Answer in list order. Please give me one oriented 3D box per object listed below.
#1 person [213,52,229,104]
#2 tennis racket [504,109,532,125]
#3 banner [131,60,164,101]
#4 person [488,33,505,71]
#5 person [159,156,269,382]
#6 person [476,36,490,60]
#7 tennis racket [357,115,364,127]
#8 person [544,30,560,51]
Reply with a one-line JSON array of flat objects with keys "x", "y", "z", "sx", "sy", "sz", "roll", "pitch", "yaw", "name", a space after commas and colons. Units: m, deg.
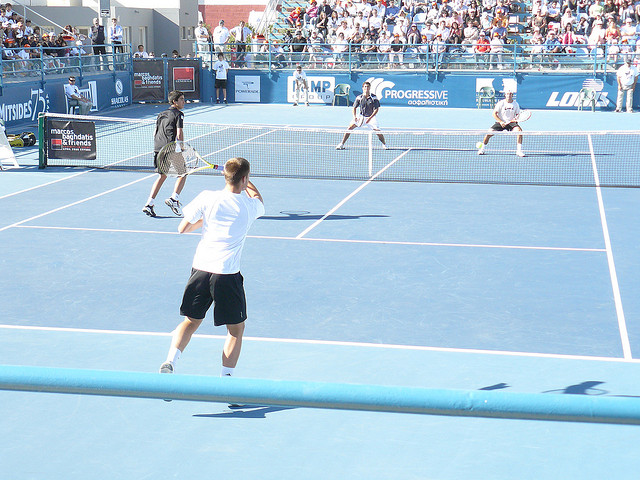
[{"x": -4.251, "y": -6.950, "z": 32.707, "sx": 0.660, "sy": 2.115, "sz": 1.106, "roll": 0, "pitch": 11, "yaw": -7, "name": "person"}, {"x": 4.775, "y": -2.904, "z": 18.216, "sx": 0.069, "sy": 0.513, "sz": 0.257, "roll": 31, "pitch": 49, "yaw": -21, "name": "tennis racket"}, {"x": -7.116, "y": -6.660, "z": 31.344, "sx": 1.591, "sy": 1.876, "sz": 0.136, "roll": -4, "pitch": 29, "yaw": -11, "name": "banner"}, {"x": 7.067, "y": -7.624, "z": 30.665, "sx": 0.631, "sy": 1.479, "sz": 0.940, "roll": 3, "pitch": 11, "yaw": 8, "name": "person"}, {"x": -0.915, "y": 0.239, "z": 6.684, "sx": 0.801, "sy": 1.893, "sz": 0.542, "roll": 1, "pitch": 10, "yaw": -5, "name": "person"}, {"x": 6.552, "y": -7.814, "z": 30.894, "sx": 0.541, "sy": 0.939, "sz": 1.699, "roll": 4, "pitch": 11, "yaw": 11, "name": "person"}, {"x": 1.033, "y": -3.083, "z": 19.710, "sx": 0.161, "sy": 0.262, "sz": 0.316, "roll": 2, "pitch": 11, "yaw": 3, "name": "tennis racket"}, {"x": 9.396, "y": -8.162, "z": 31.020, "sx": 0.578, "sy": 0.868, "sz": 1.481, "roll": 5, "pitch": 12, "yaw": 16, "name": "person"}]
